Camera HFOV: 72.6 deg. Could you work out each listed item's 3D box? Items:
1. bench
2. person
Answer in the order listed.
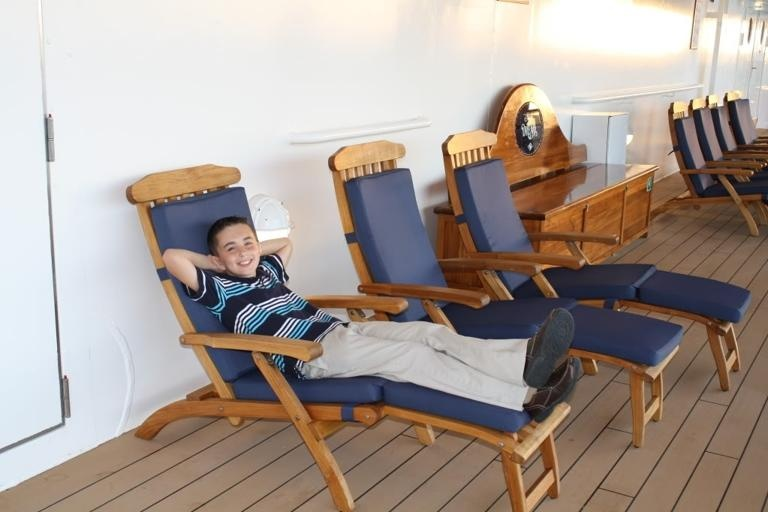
[{"bbox_3d":[1.348,-0.579,4.449,0.833,1.265,2.137,13,27,35],"label":"bench"},{"bbox_3d":[-0.086,0.325,2.558,1.772,0.629,0.828,5,25,22],"label":"person"}]
